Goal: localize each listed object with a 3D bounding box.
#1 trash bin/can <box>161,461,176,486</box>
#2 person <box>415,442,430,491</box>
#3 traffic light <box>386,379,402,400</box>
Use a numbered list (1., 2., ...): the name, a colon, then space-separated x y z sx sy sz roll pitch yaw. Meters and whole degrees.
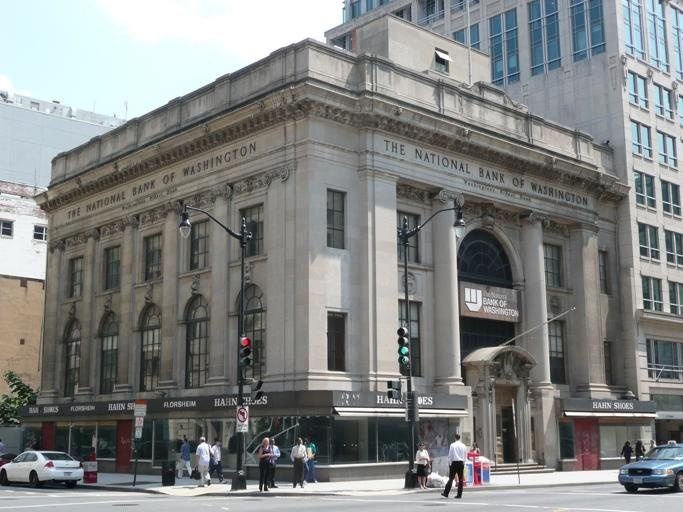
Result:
1. trash bin/can: -9.618 12.001 50.848 0.684 1.369 0.612 4 -16 -18
2. person: 4.396 11.153 48.981 0.663 2.395 1.158 -3 -16 6
3. traffic light: 2.965 7.420 51.021 0.458 1.315 1.338 -6 -14 30
